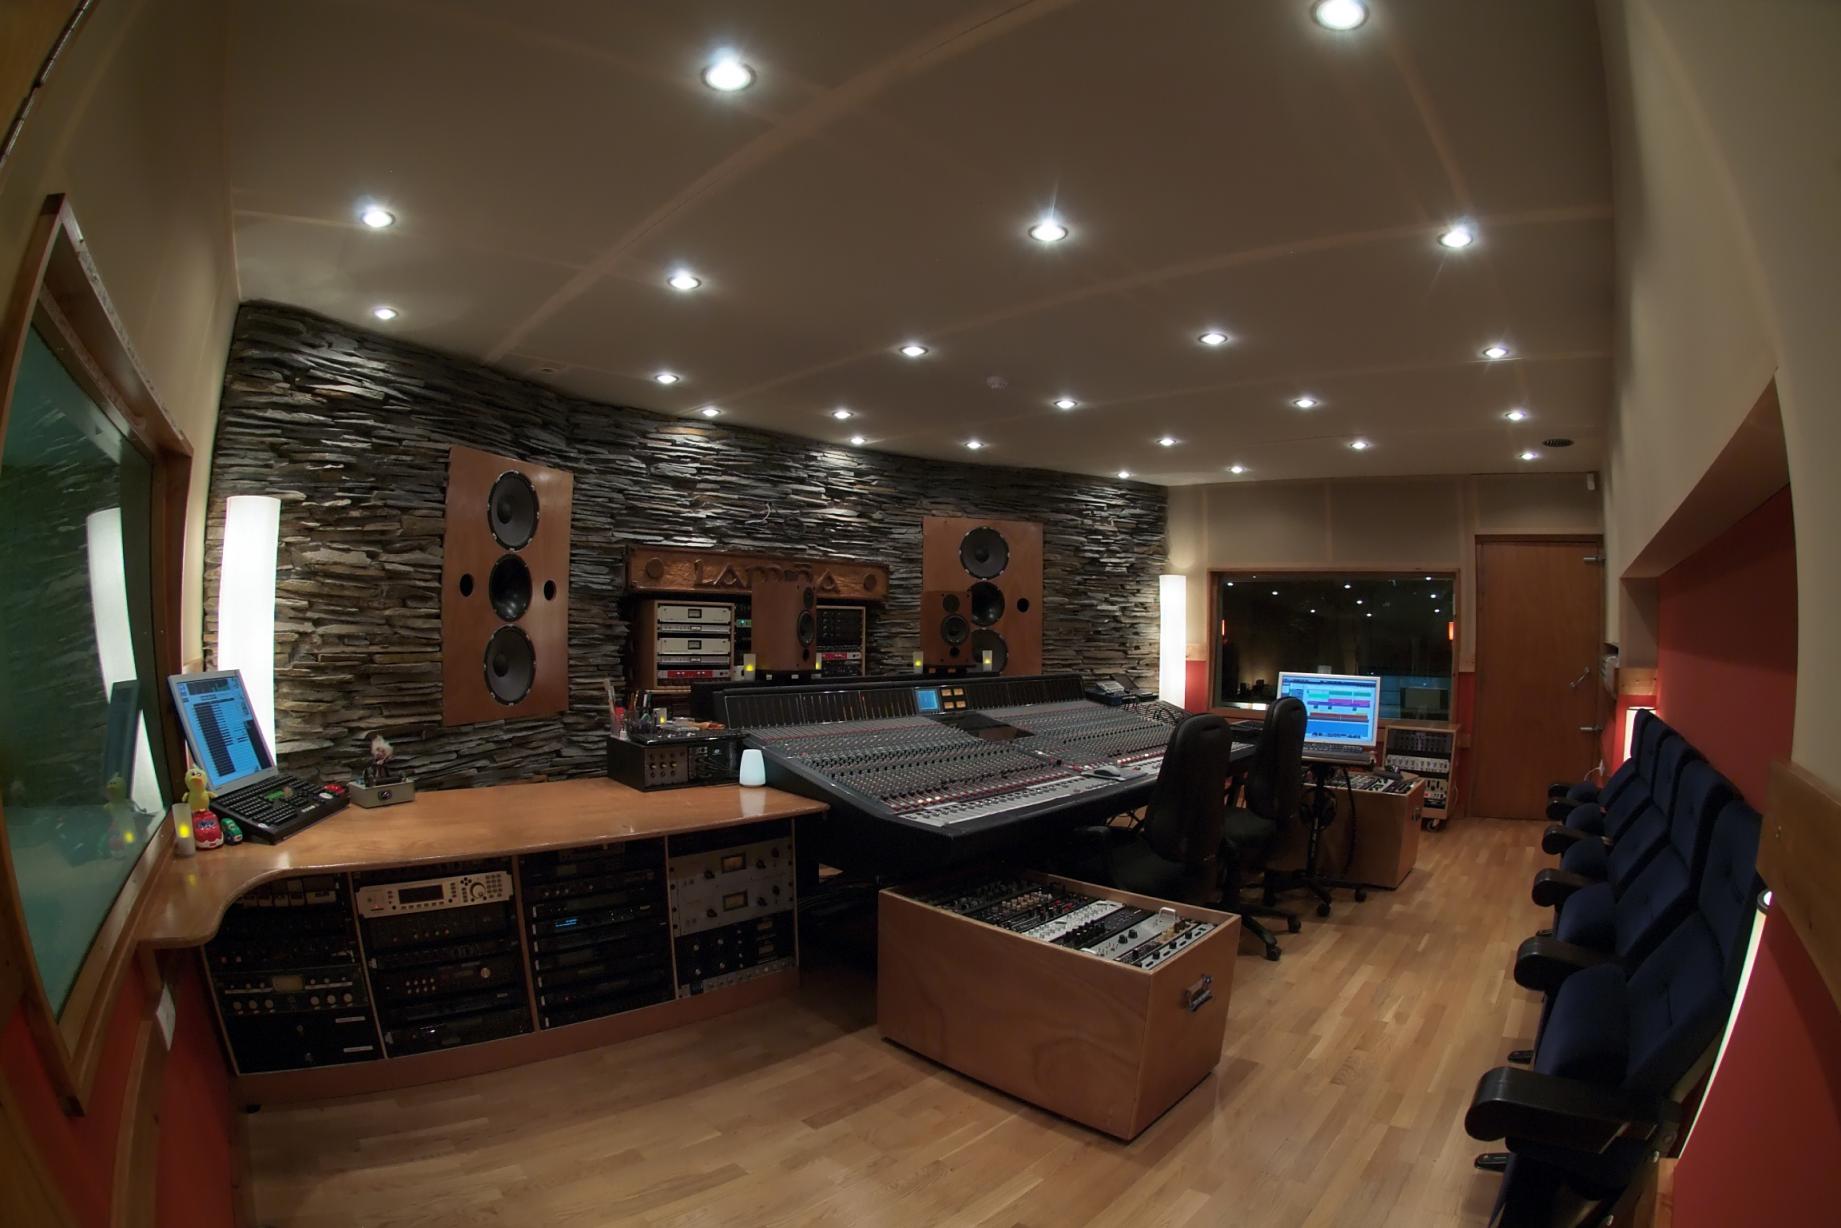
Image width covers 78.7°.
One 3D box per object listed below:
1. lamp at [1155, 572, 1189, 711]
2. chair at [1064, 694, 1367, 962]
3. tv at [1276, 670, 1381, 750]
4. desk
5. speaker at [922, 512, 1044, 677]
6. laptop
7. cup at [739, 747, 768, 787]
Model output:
[{"bbox_3d":[1.976,0.198,8.749,0.277,0.973,0.478,3,11,7],"label":"lamp"},{"bbox_3d":[1.219,0.958,5.082,1.221,1.375,1.097,-1,-2,-35],"label":"chair"},{"bbox_3d":[2.255,0.538,6.067,0.607,0.429,0.319,4,-1,-11],"label":"tv"},{"bbox_3d":[-0.956,1.011,4.147,1.797,0.723,0.881,-9,8,-1],"label":"desk"},{"bbox_3d":[0.378,-0.037,8.207,0.900,1.219,0.660,1,-8,-20],"label":"speaker"},{"bbox_3d":[-2.189,0.441,3.738,0.477,0.441,0.413,13,7,-4],"label":"laptop"},{"bbox_3d":[-0.649,0.602,4.424,0.122,0.138,0.125,-1,-2,0],"label":"cup"}]
